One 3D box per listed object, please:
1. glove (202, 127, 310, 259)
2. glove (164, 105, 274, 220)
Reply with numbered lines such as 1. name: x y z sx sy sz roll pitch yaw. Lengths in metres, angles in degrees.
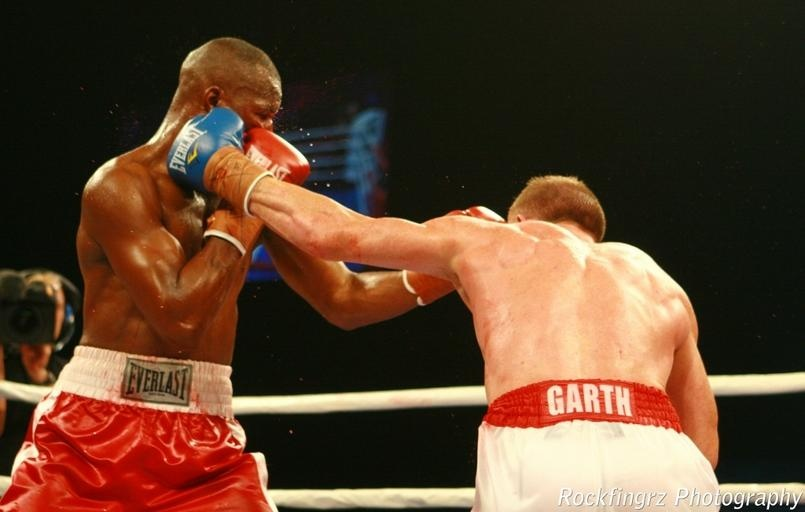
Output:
1. glove: -0.625 -0.319 4.468 0.586 0.593 0.239 26 -11 4
2. glove: -0.964 -0.532 4.634 0.412 0.559 0.242 29 -7 4
